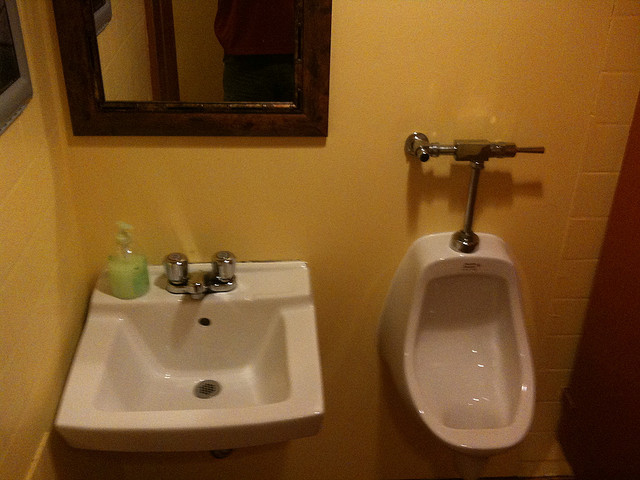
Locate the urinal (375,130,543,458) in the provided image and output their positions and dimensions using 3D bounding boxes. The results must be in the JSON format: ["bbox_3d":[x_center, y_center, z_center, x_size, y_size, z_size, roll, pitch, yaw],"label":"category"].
[{"bbox_3d":[0.384,0.139,1.523,0.454,0.814,0.449,0,23,6],"label":"urinal"}]

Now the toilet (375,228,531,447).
[{"bbox_3d":[0.411,0.278,1.646,0.427,0.663,0.251,1,3,8],"label":"toilet"}]

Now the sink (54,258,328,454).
[{"bbox_3d":[-0.323,0.320,1.521,0.699,0.226,0.655,6,34,3],"label":"sink"}]

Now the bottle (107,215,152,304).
[{"bbox_3d":[-0.529,0.053,1.551,0.112,0.221,0.113,-16,12,3],"label":"bottle"}]
